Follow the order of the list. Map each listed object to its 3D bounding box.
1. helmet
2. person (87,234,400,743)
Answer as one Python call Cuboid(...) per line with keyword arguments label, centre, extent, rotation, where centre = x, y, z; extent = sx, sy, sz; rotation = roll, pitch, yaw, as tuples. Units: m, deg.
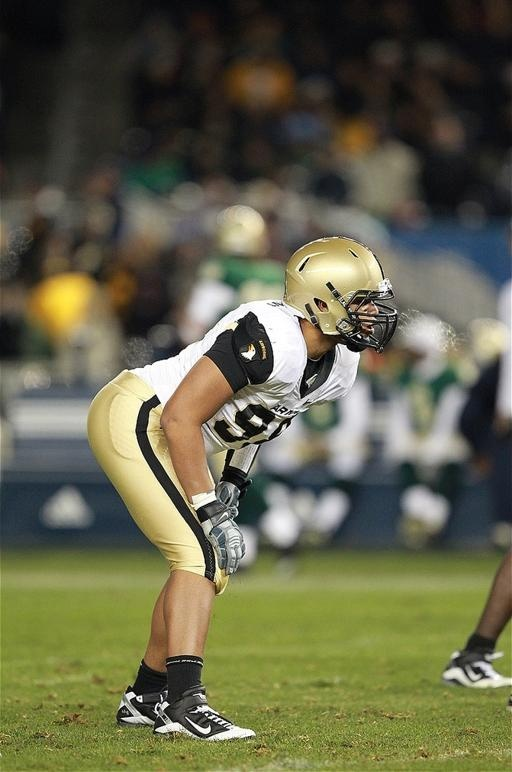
Cuboid(label="helmet", centre=(0.228, -0.249, 2.224), extent=(0.327, 0.214, 0.211), rotation=(5, 9, 7))
Cuboid(label="person", centre=(-0.017, 0.216, 2.184), extent=(0.758, 1.213, 0.557), rotation=(1, -9, -9))
